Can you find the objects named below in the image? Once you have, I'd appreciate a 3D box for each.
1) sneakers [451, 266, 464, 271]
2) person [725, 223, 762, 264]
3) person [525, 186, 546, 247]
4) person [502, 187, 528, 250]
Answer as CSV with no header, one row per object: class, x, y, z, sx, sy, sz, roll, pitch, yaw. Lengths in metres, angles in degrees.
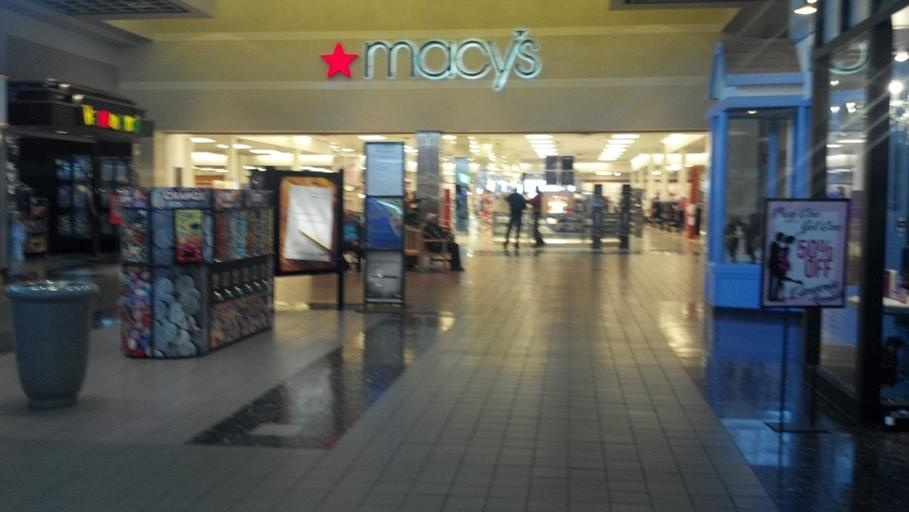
sneakers,0.092,0.317,17.910,0.410,0.079,0.250,-7,13,-37
person,5.069,-0.270,11.741,0.517,0.715,0.179,5,12,18
person,2.572,-1.187,21.100,0.515,1.869,0.679,4,12,14
person,1.904,-1.108,21.032,0.668,1.802,0.745,2,11,5
